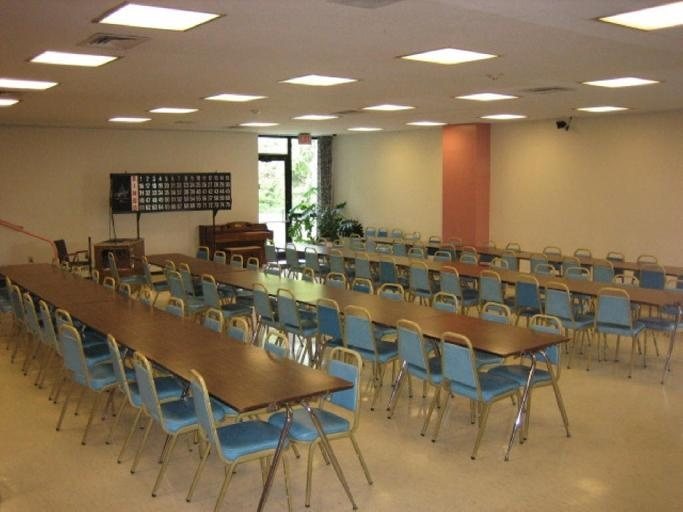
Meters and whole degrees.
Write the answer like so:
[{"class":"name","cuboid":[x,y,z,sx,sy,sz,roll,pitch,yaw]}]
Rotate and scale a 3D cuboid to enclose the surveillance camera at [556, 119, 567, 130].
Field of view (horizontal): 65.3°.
[{"class":"surveillance camera","cuboid":[4.571,-2.716,11.071,0.207,0.148,0.184,1,3,41]}]
